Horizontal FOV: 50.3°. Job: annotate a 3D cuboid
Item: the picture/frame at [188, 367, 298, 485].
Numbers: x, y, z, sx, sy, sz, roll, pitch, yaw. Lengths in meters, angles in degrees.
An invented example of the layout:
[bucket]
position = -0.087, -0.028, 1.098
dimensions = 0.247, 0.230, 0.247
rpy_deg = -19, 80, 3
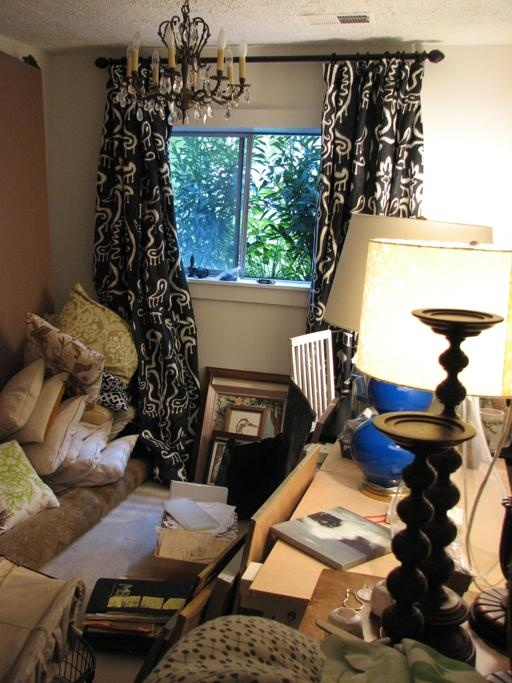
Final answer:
[picture/frame]
position = -0.078, 0.490, 3.127
dimensions = 0.749, 0.853, 0.066
rpy_deg = 6, -10, 12

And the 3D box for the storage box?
[storage box]
position = -0.229, 0.772, 2.271
dimensions = 0.181, 0.286, 0.137
rpy_deg = -2, -7, -27

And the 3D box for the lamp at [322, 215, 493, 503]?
[lamp]
position = 0.545, -0.006, 1.571
dimensions = 0.359, 0.557, 0.377
rpy_deg = 19, 21, 34
